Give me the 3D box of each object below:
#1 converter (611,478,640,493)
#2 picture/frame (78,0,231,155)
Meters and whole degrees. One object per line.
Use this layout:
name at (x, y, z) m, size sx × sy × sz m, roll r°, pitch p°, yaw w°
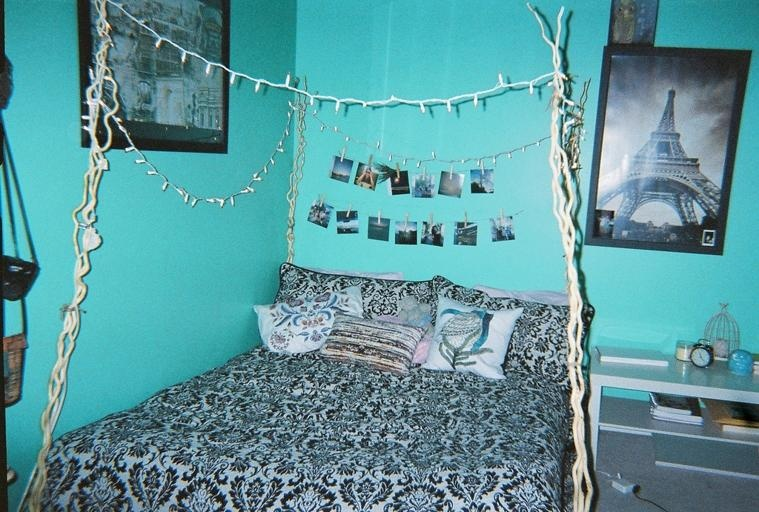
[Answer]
converter at (1.387, 1.273, 3.148) m, size 0.085 × 0.025 × 0.082 m, roll -4°, pitch 6°, yaw -38°
picture/frame at (-1.184, -0.925, 2.892) m, size 0.076 × 0.973 × 0.997 m, roll 7°, pitch 10°, yaw 30°
